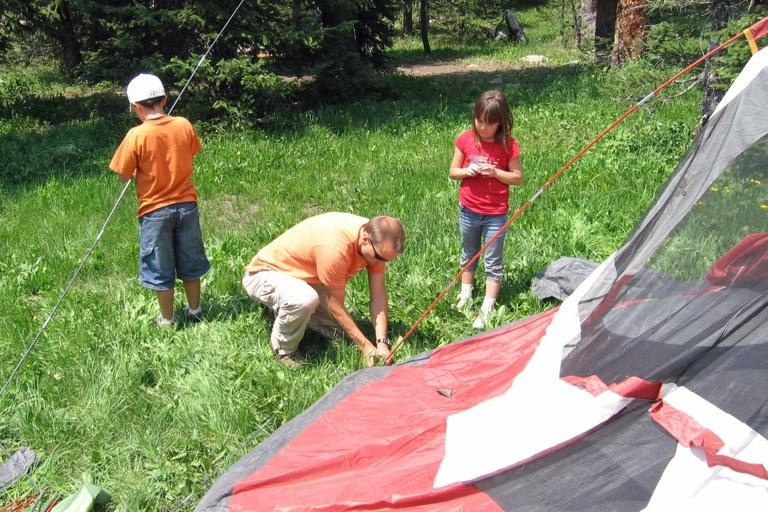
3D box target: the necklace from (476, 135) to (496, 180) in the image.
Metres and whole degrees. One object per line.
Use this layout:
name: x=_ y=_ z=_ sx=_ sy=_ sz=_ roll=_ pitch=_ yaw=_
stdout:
necklace: x=0.931 y=-0.872 z=6.877 sx=0.168 sy=0.329 sz=0.126 roll=5 pitch=3 yaw=9

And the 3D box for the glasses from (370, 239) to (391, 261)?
glasses: x=-0.030 y=-0.058 z=6.429 sx=0.045 sy=0.174 sz=0.156 roll=-15 pitch=-12 yaw=21

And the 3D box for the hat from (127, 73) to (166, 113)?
hat: x=-2.286 y=-1.502 z=7.010 sx=0.322 sy=0.299 sz=0.549 roll=-3 pitch=17 yaw=-19

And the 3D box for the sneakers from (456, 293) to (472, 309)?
sneakers: x=0.775 y=0.430 z=7.340 sx=0.127 sy=0.148 sz=0.131 roll=-9 pitch=31 yaw=-12
